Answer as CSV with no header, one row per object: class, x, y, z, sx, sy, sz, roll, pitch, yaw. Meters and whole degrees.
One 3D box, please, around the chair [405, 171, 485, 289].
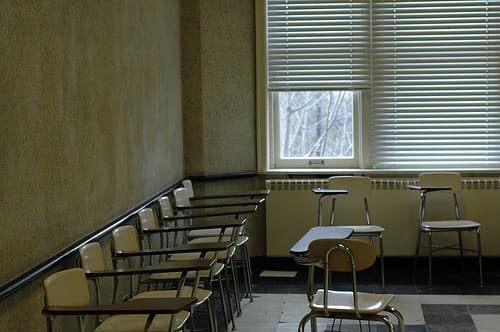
chair,2.156,0.683,6.079,0.831,1.145,0.896,2,11,23
